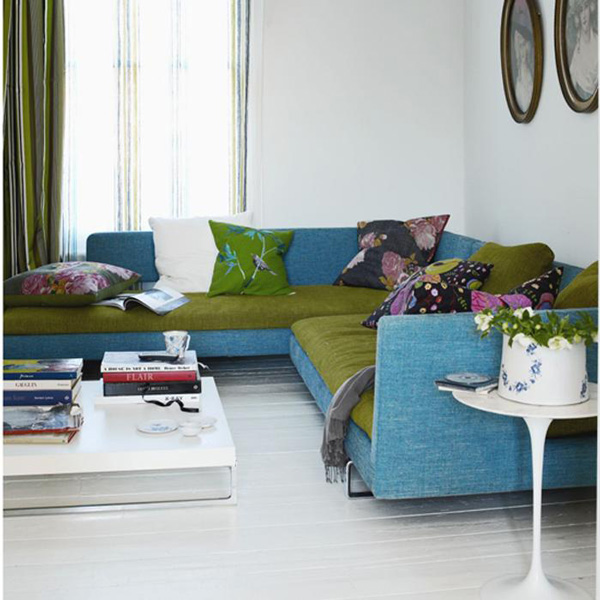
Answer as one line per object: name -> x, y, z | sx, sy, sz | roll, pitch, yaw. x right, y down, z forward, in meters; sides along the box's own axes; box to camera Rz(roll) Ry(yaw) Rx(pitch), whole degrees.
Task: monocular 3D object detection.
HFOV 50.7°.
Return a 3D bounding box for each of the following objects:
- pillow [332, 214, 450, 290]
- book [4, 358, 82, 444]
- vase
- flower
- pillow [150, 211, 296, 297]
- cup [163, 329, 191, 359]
pillow -> 0.556, -0.286, 3.849 | 0.561, 0.504, 0.167 | 5, -18, 38
book -> -0.830, 0.334, 2.052 | 0.262, 0.059, 0.256 | -1, 21, -7
vase -> 0.581, 0.158, 1.523 | 0.187, 0.116, 0.175 | 0, 0, -8
flower -> 0.558, 0.068, 1.515 | 0.237, 0.076, 0.149 | 2, -6, 32
pillow -> -0.487, -0.262, 3.900 | 0.651, 0.401, 0.213 | -8, 6, -14
cup -> -0.468, 0.178, 2.479 | 0.112, 0.096, 0.092 | 1, -2, -21
